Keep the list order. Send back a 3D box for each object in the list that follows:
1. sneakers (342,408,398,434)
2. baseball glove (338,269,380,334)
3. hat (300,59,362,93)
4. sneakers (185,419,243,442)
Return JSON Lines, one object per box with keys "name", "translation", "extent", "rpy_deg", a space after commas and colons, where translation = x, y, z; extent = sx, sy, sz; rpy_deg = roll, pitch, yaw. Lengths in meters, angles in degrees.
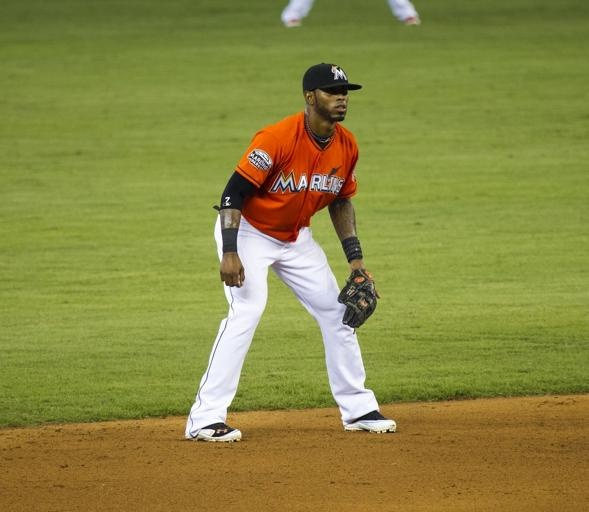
{"name": "sneakers", "translation": [0.673, 1.557, 13.649], "extent": [0.441, 0.207, 0.204], "rpy_deg": [-3, 2, 15]}
{"name": "baseball glove", "translation": [0.575, 0.362, 13.768], "extent": [0.361, 0.198, 0.573], "rpy_deg": [5, 62, 13]}
{"name": "hat", "translation": [0.289, -1.715, 13.603], "extent": [0.421, 0.212, 0.294], "rpy_deg": [0, 7, 27]}
{"name": "sneakers", "translation": [-0.780, 1.634, 13.552], "extent": [0.494, 0.216, 0.186], "rpy_deg": [-6, -1, 11]}
